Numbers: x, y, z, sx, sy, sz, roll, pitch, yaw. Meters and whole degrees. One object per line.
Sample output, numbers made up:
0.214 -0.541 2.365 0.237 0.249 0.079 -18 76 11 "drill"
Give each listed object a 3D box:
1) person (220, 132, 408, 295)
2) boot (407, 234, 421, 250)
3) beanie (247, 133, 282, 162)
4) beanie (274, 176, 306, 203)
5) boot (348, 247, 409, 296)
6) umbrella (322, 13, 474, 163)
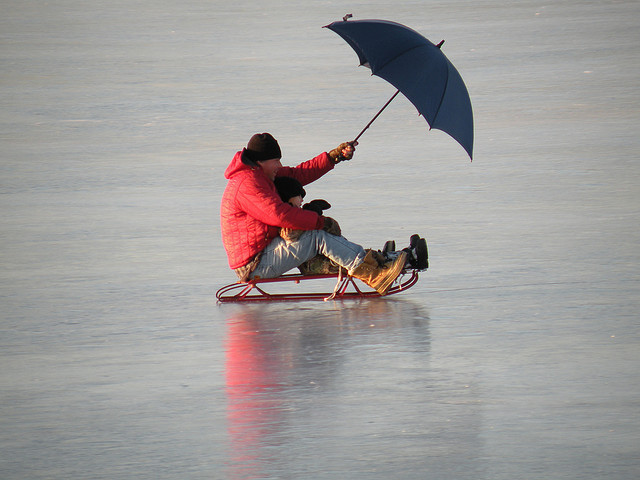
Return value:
-0.051 -0.213 12.184 1.873 0.933 0.830 5 15 -12 "person"
0.807 0.021 11.972 0.080 0.128 0.065 11 0 7 "boot"
-0.473 -0.774 11.910 0.359 0.220 0.230 -4 38 -4 "beanie"
-0.282 -0.431 12.055 0.325 0.200 0.198 -15 13 -4 "beanie"
0.491 0.277 11.899 0.491 0.394 0.150 5 10 1 "boot"
0.578 -1.340 12.335 1.755 1.164 1.222 8 27 7 "umbrella"
